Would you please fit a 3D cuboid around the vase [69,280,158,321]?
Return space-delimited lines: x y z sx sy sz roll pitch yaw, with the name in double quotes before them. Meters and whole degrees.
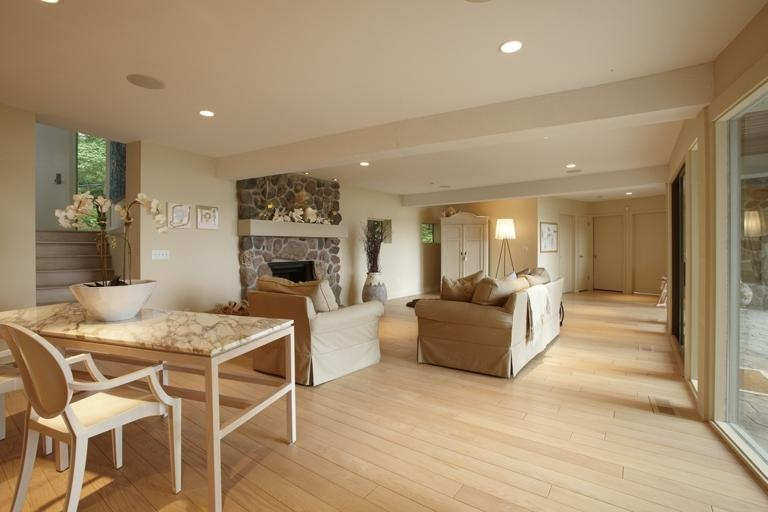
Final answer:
"vase" -2.238 0.382 4.019 0.679 0.279 0.672 -3 0 27

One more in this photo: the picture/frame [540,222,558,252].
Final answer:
"picture/frame" 3.731 -0.425 10.913 0.179 0.683 0.970 1 3 32
